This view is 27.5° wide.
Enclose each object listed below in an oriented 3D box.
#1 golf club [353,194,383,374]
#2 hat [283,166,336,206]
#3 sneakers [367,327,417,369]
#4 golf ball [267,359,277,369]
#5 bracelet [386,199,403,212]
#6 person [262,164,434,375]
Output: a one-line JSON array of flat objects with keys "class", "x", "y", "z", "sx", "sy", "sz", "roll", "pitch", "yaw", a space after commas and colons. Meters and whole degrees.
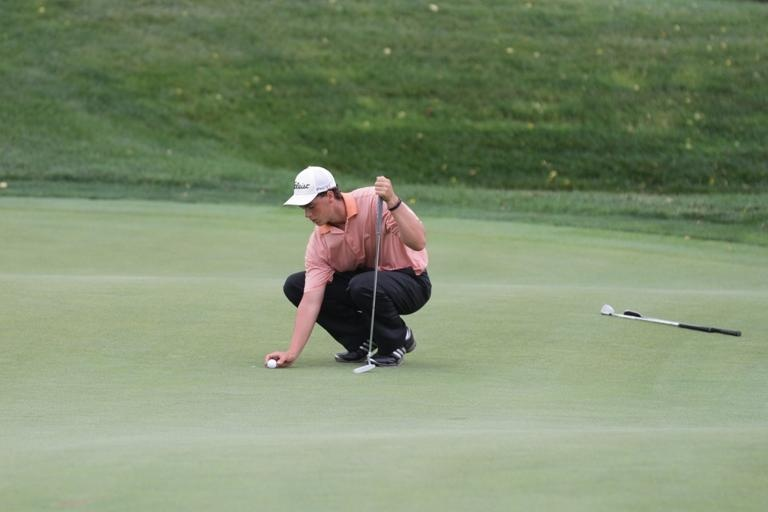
[{"class": "golf club", "x": -0.094, "y": 0.240, "z": 12.434, "sx": 0.160, "sy": 1.391, "sz": 0.389, "roll": 5, "pitch": 11, "yaw": 12}, {"class": "hat", "x": -0.554, "y": -0.528, "z": 12.339, "sx": 0.402, "sy": 0.324, "sz": 0.252, "roll": 1, "pitch": 10, "yaw": -7}, {"class": "sneakers", "x": 0.056, "y": 0.779, "z": 12.599, "sx": 0.200, "sy": 0.187, "sz": 0.466, "roll": -3, "pitch": 5, "yaw": 35}, {"class": "golf ball", "x": -0.872, "y": 0.873, "z": 12.403, "sx": 0.079, "sy": 0.074, "sz": 0.063, "roll": -5, "pitch": 13, "yaw": -38}, {"class": "bracelet", "x": 0.094, "y": -0.383, "z": 12.246, "sx": 0.097, "sy": 0.102, "sz": 0.073, "roll": 3, "pitch": 10, "yaw": 0}, {"class": "person", "x": -0.232, "y": 0.135, "z": 12.487, "sx": 1.092, "sy": 1.725, "sz": 0.927, "roll": 2, "pitch": 3, "yaw": 29}]
